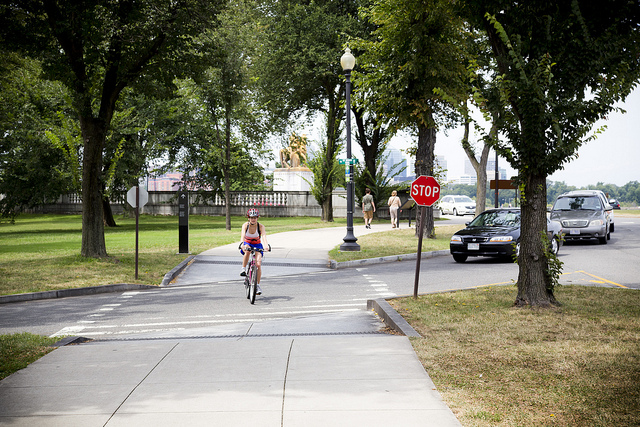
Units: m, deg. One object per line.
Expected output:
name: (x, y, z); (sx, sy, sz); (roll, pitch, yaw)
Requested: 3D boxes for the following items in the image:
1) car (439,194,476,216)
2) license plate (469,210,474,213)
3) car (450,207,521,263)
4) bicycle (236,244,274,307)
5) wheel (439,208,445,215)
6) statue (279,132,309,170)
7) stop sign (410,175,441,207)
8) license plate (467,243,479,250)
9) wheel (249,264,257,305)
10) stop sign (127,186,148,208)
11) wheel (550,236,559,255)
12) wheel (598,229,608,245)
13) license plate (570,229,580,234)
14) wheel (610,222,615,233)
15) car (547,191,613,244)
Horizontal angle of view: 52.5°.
car: (12.717, -0.836, 60.470); (1.983, 1.628, 4.377); (0, -3, -23)
license plate: (13.735, -0.112, 58.540); (0.281, 0.297, 0.158); (0, 20, 8)
car: (5.929, 0.650, 22.843); (1.515, 1.266, 2.847); (-4, -7, 30)
bicycle: (-1.854, 1.586, 17.329); (0.975, 1.410, 2.410); (1, 4, -11)
wheel: (11.632, -0.012, 61.375); (0.403, 0.795, 0.803); (-5, 2, 11)
statue: (-2.273, -5.286, 55.602); (2.604, 3.769, 1.260); (-1, -17, -2)
stop sign: (2.615, -0.551, 16.091); (0.695, 0.728, 0.385); (0, 3, 2)
license plate: (5.302, 1.146, 22.402); (0.331, 0.228, 0.190); (1, -7, 14)
wheel: (-1.701, 1.806, 16.485); (0.199, 0.970, 0.323); (-1, 3, -10)
stop sign: (-5.772, -0.501, 20.368); (0.564, 0.649, 0.982); (-1, 3, -17)
wheel: (6.870, 0.946, 19.004); (0.218, 0.707, 0.687); (-1, -7, 21)
wheel: (12.079, 1.016, 27.681); (0.194, 0.624, 0.605); (-2, -6, 21)
license plate: (10.860, 0.772, 27.592); (0.288, 0.209, 0.163); (-1, -9, 10)
wheel: (15.169, 0.731, 33.659); (0.166, 0.490, 0.477); (-4, -9, 16)
car: (11.520, 0.244, 28.481); (2.268, 2.136, 3.068); (1, 3, 27)
